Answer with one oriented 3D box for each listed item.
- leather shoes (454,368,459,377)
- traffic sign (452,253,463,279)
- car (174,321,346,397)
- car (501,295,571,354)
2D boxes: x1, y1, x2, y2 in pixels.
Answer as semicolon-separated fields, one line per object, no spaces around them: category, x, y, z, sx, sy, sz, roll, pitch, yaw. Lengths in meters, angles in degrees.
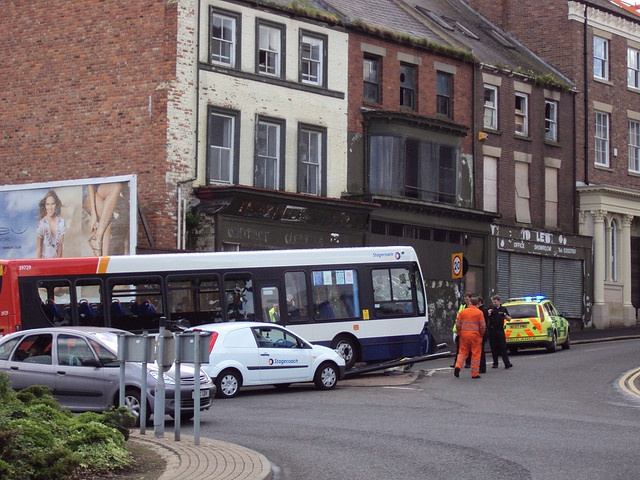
leather shoes;3.709;3.619;27.922;0.098;0.277;0.115;-3;21;7
traffic sign;4.588;0.826;34.359;0.056;1.231;0.888;0;-3;33
car;-1.422;2.882;25.847;3.598;1.558;1.746;-1;-2;-31
car;7.596;2.834;35.740;1.461;1.447;3.189;-3;-1;28
